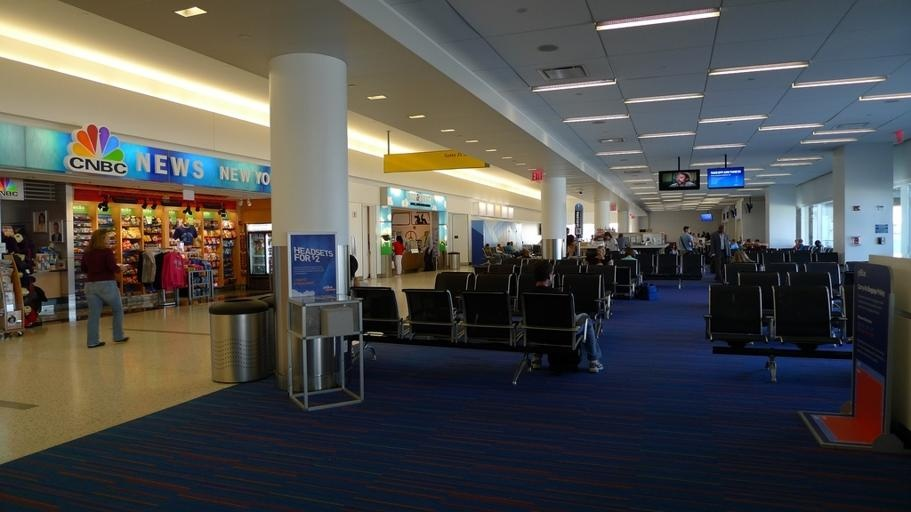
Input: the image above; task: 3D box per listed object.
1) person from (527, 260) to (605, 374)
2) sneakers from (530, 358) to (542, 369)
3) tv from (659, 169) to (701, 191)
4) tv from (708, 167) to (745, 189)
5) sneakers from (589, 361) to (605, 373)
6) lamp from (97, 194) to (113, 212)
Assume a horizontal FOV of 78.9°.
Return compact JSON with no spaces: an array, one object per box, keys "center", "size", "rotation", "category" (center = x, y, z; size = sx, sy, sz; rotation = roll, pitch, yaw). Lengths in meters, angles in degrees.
[{"center":[1.617,1.156,8.876],"size":[1.064,1.244,1.053],"rotation":[1,5,32],"category":"person"},{"center":[1.325,1.756,9.153],"size":[0.177,0.145,0.169],"rotation":[6,12,25],"category":"sneakers"},{"center":[7.548,-2.571,18.674],"size":[1.210,0.584,0.112],"rotation":[1,3,13],"category":"tv"},{"center":[9.166,-2.669,18.772],"size":[1.197,0.640,0.128],"rotation":[1,3,16],"category":"tv"},{"center":[2.300,1.776,8.984],"size":[0.131,0.175,0.322],"rotation":[3,9,45],"category":"sneakers"},{"center":[-9.735,-1.469,15.410],"size":[0.432,0.411,0.399],"rotation":[0,2,17],"category":"lamp"}]
